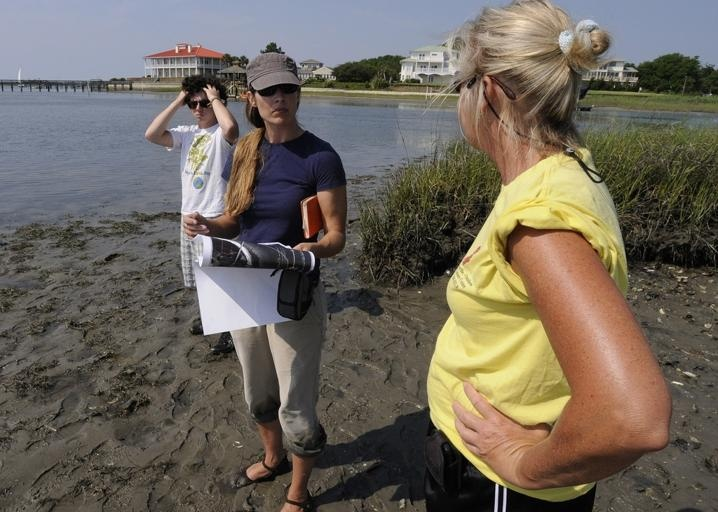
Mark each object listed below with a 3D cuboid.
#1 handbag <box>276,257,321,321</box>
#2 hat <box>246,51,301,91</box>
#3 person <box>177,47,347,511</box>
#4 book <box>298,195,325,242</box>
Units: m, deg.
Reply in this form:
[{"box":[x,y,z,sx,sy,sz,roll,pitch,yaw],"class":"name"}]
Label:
[{"box":[-0.400,0.223,3.288,0.225,0.354,0.203,9,-3,19],"class":"handbag"},{"box":[-0.577,-1.266,3.545,0.378,0.264,0.554,-11,15,-16],"class":"hat"},{"box":[-0.539,0.218,3.524,0.972,3.076,0.697,14,21,41],"class":"person"},{"box":[-0.300,-0.242,3.339,0.146,0.325,0.223,-2,16,-5],"class":"book"}]
